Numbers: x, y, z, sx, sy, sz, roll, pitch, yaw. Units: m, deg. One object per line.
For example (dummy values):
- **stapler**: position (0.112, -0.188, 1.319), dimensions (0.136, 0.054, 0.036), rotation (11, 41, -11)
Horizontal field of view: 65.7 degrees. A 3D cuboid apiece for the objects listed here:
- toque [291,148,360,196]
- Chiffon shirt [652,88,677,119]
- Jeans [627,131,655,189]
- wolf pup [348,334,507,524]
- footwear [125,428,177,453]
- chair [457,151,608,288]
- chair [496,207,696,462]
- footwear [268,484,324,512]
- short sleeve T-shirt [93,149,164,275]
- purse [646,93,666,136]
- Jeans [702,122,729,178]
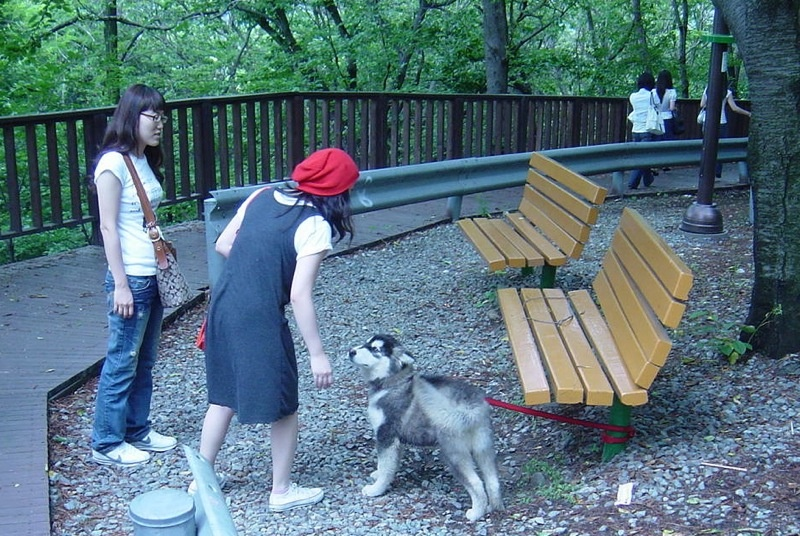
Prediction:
- **toque**: position (-0.455, -0.581, 4.041), dimensions (0.409, 0.218, 0.276), rotation (-20, 60, -16)
- **Chiffon shirt**: position (5.583, -3.445, 12.931), dimensions (0.596, 0.562, 0.326), rotation (17, 36, 38)
- **Jeans**: position (5.116, -2.239, 12.880), dimensions (0.441, 1.135, 1.160), rotation (1, 16, 22)
- **wolf pup**: position (0.202, 1.221, 4.489), dimensions (1.068, 0.985, 0.396), rotation (10, 27, 28)
- **footwear**: position (-1.937, 1.350, 4.823), dimensions (0.349, 0.139, 0.142), rotation (-1, 10, -9)
- **chair**: position (1.464, -0.411, 7.326), dimensions (1.313, 1.543, 2.215), rotation (-5, 18, -4)
- **chair**: position (1.524, 0.536, 5.223), dimensions (1.410, 1.695, 2.648), rotation (-4, 12, 12)
- **footwear**: position (-0.703, 1.575, 4.285), dimensions (0.391, 0.144, 0.139), rotation (-7, 6, -24)
- **short sleeve T-shirt**: position (-1.917, -0.393, 4.485), dimensions (0.451, 0.907, 0.271), rotation (-14, 18, -31)
- **purse**: position (5.355, -3.191, 12.792), dimensions (0.395, 1.138, 0.836), rotation (0, 7, 29)
- **Jeans**: position (5.451, -2.032, 10.536), dimensions (0.357, 0.466, 2.096), rotation (8, 26, 26)
